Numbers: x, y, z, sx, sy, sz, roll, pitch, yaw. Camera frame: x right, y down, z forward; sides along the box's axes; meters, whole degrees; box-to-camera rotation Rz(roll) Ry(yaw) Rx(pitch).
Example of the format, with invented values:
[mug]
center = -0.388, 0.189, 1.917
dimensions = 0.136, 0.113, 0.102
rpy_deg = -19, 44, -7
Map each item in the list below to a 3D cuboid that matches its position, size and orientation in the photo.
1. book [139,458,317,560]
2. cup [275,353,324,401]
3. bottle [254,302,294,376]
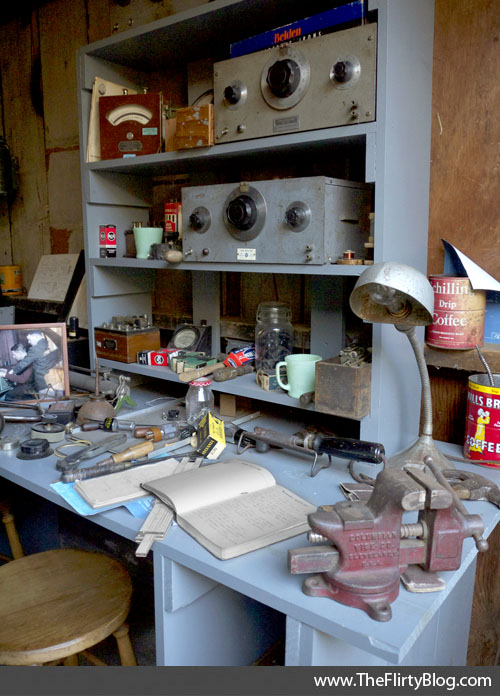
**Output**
[book]
center = -0.029, 0.247, 1.085
dimensions = 0.315, 0.081, 0.283
rpy_deg = -6, 16, -37
[cup]
center = 0.125, 0.068, 1.468
dimensions = 0.103, 0.116, 0.103
rpy_deg = 4, 14, -1
[bottle]
center = 0.052, -0.037, 1.640
dimensions = 0.097, 0.215, 0.104
rpy_deg = 4, 16, -1
